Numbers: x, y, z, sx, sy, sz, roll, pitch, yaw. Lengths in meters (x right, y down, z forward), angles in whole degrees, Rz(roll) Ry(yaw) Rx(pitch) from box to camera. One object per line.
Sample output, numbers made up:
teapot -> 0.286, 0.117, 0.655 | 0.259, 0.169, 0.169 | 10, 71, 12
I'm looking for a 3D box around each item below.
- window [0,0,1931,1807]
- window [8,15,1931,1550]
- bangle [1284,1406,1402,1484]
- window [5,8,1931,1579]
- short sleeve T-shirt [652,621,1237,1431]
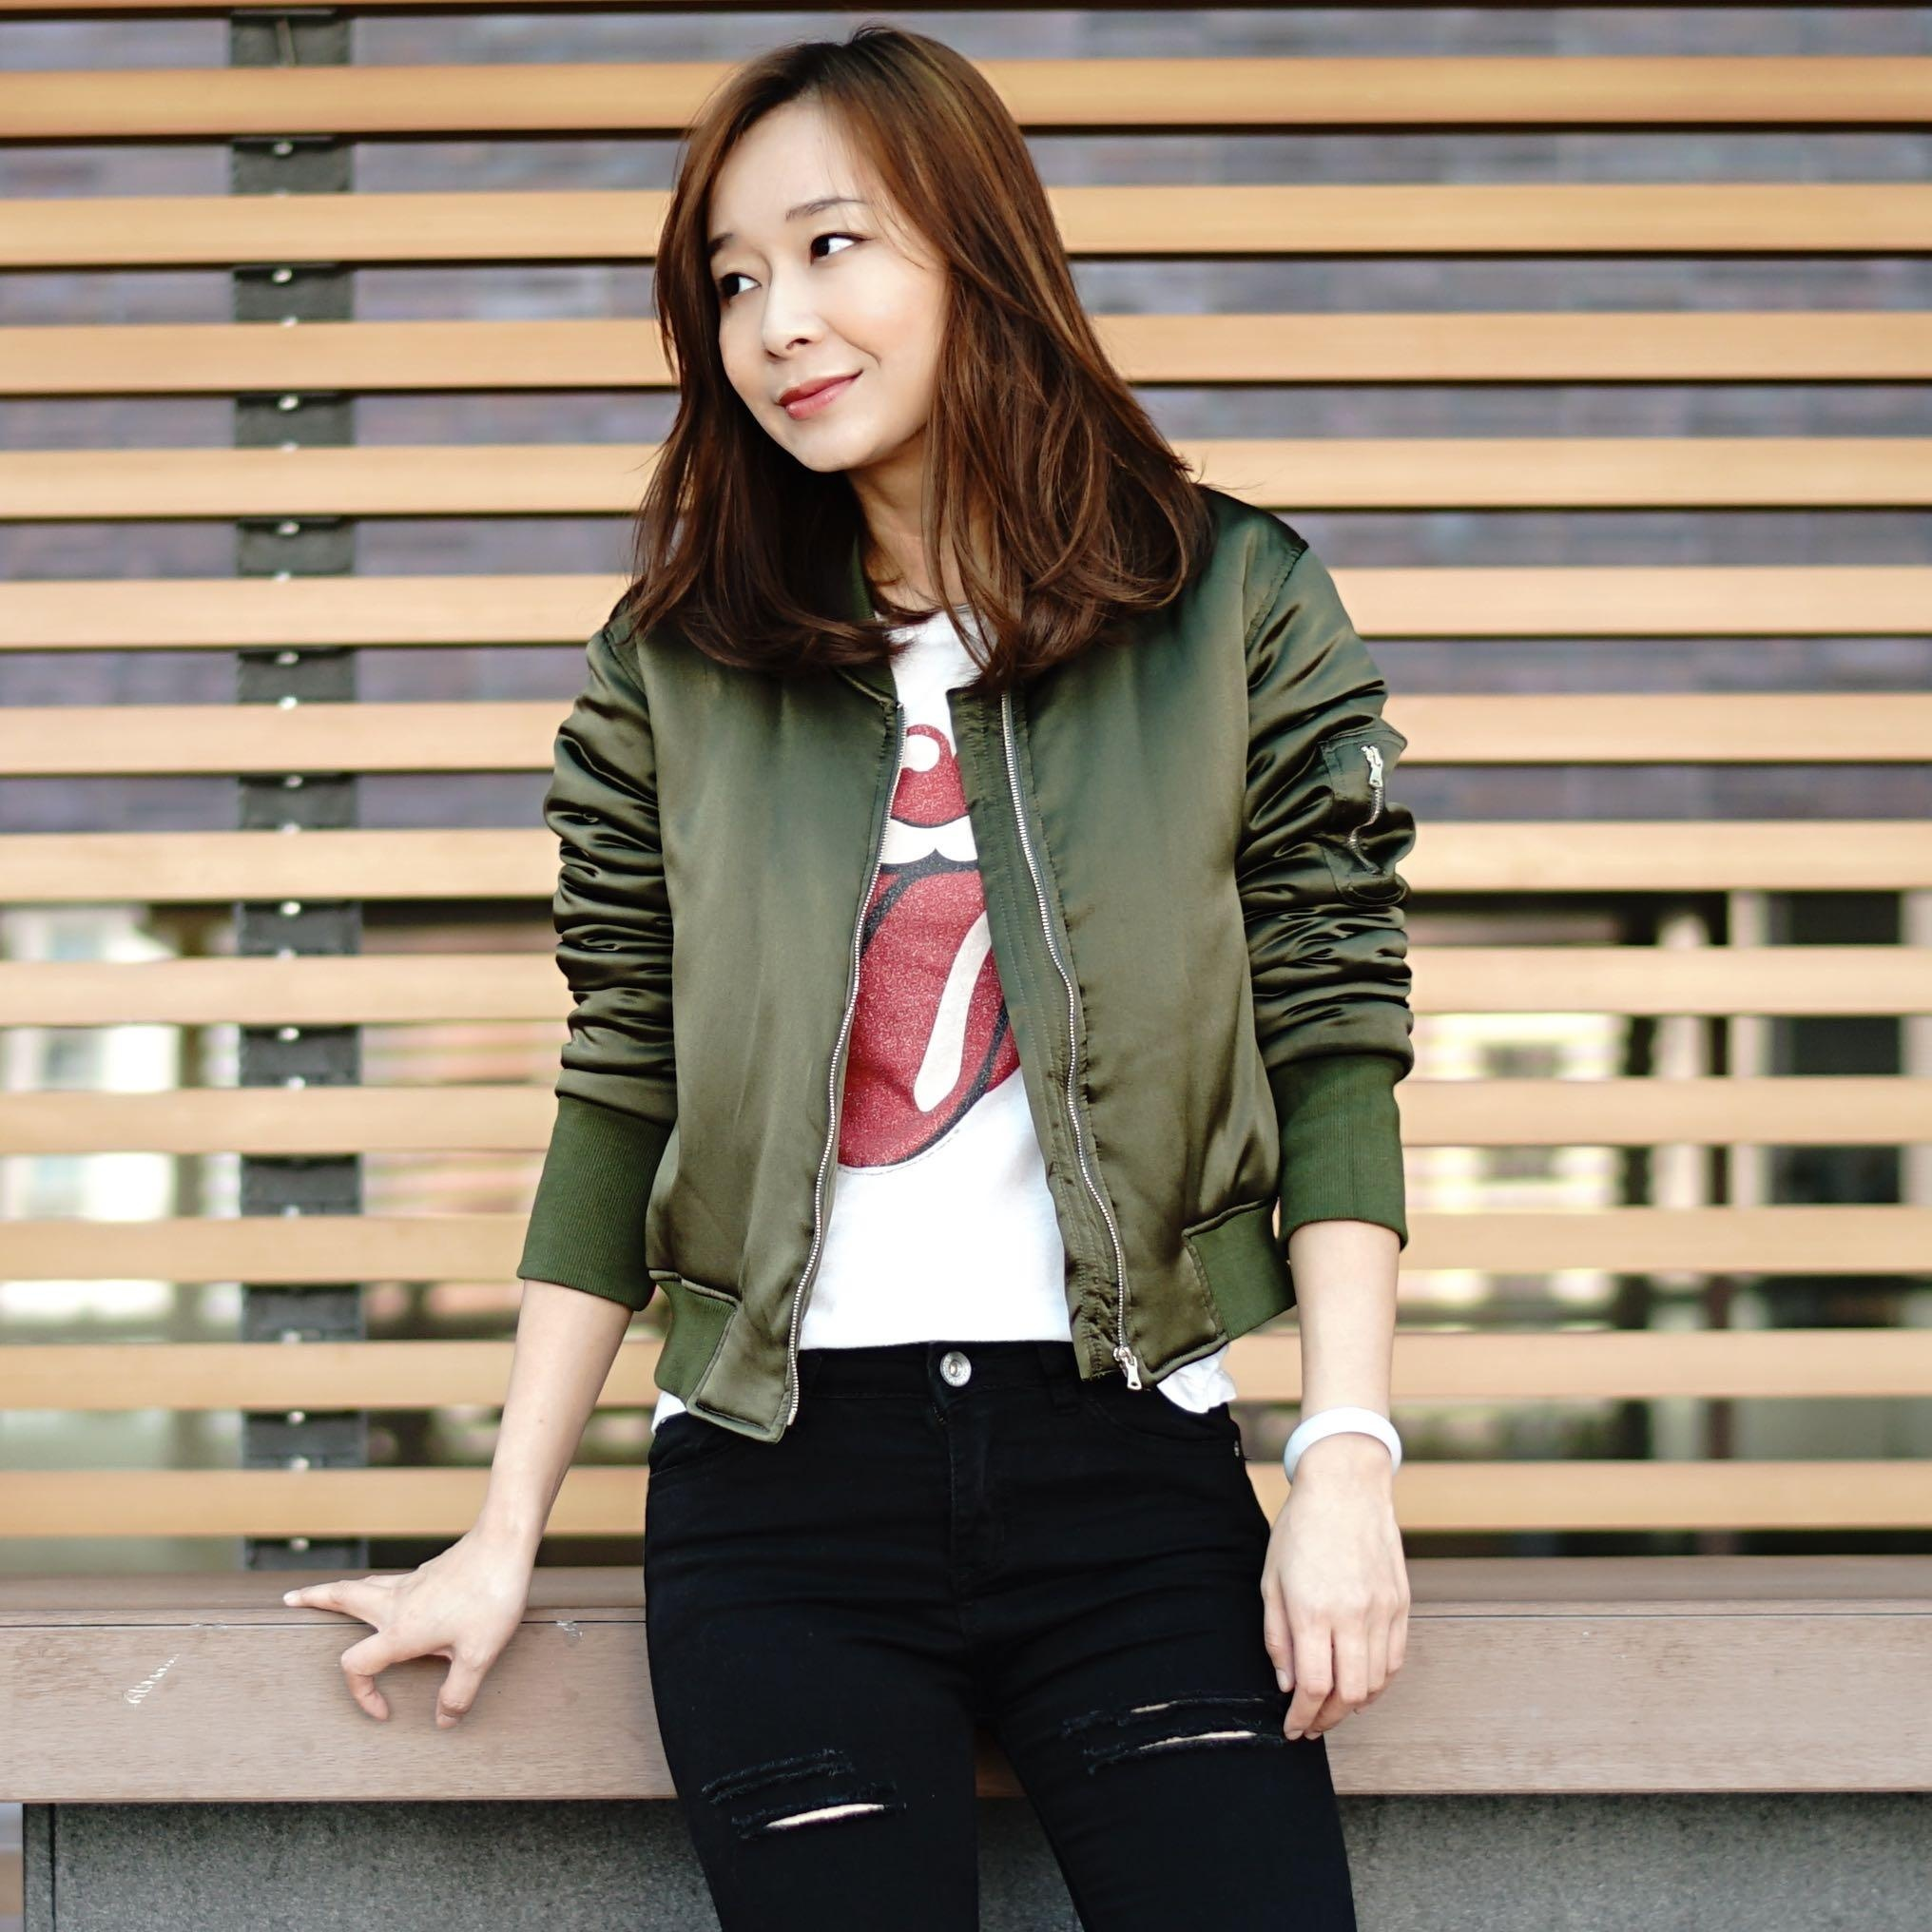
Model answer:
window -> 0.013, -0.017, 3.423 | 4.052, 1.808, 0.072 | -1, -3, -1
window -> 0.020, -0.167, 3.511 | 3.447, 1.477, 0.053 | -1, -3, -1
bangle -> 0.357, 0.453, 2.669 | 0.106, 0.068, 0.059 | 0, -1, 8
window -> 0.019, -0.152, 3.508 | 3.506, 1.475, 0.064 | -1, -3, -1
short sleeve T-shirt -> -0.071, 0.034, 2.610 | 0.664, 0.654, 0.193 | 0, -1, 8
